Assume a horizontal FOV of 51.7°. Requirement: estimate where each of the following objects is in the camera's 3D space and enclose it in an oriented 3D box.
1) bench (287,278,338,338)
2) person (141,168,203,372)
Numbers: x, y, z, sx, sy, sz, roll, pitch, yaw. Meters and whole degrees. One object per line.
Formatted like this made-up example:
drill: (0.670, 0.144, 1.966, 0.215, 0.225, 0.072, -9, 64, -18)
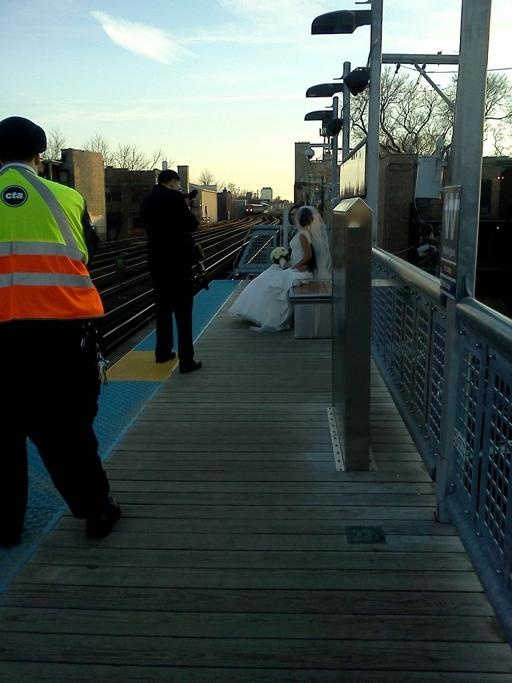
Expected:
bench: (0.659, -0.362, 6.284, 0.439, 0.647, 0.787, -1, 7, 6)
person: (-0.786, -0.656, 4.975, 0.514, 1.866, 0.643, -3, 6, -13)
